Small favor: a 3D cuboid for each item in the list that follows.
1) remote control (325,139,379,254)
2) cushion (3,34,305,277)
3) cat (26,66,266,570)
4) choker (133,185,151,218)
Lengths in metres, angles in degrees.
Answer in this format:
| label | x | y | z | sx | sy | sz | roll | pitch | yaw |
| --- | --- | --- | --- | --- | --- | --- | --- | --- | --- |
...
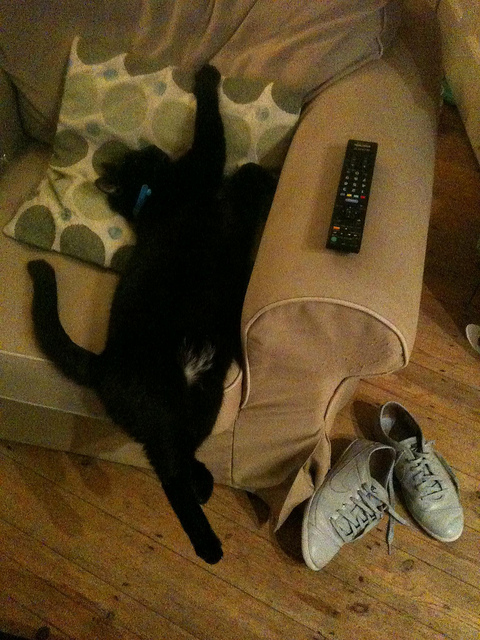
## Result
| label | x | y | z | sx | sy | sz | roll | pitch | yaw |
| --- | --- | --- | --- | --- | --- | --- | --- | --- | --- |
| remote control | 0.170 | -0.188 | 0.900 | 0.047 | 0.030 | 0.203 | 7 | 63 | 16 |
| cushion | -0.209 | -0.228 | 1.117 | 0.513 | 0.132 | 0.439 | 15 | 87 | -1 |
| cat | -0.096 | 0.008 | 1.045 | 0.261 | 0.467 | 0.687 | 9 | 83 | -27 |
| choker | -0.172 | -0.208 | 1.034 | 0.020 | 0.001 | 0.052 | 26 | 106 | 0 |
